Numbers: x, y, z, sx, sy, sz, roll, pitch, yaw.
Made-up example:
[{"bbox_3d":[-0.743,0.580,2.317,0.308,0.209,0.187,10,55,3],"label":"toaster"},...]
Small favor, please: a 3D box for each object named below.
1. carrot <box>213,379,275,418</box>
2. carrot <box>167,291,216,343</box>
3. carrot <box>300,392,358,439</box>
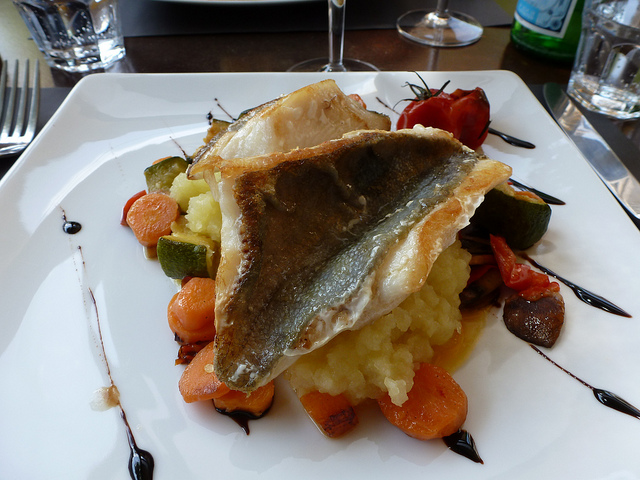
[{"bbox_3d":[-0.309,0.692,2.505,0.277,0.099,0.127,-18,53,-16],"label":"carrot"},{"bbox_3d":[-0.595,0.338,2.714,0.147,0.187,0.190,24,38,37],"label":"carrot"},{"bbox_3d":[0.038,0.734,2.549,0.189,0.072,0.262,-30,32,-23],"label":"carrot"}]
